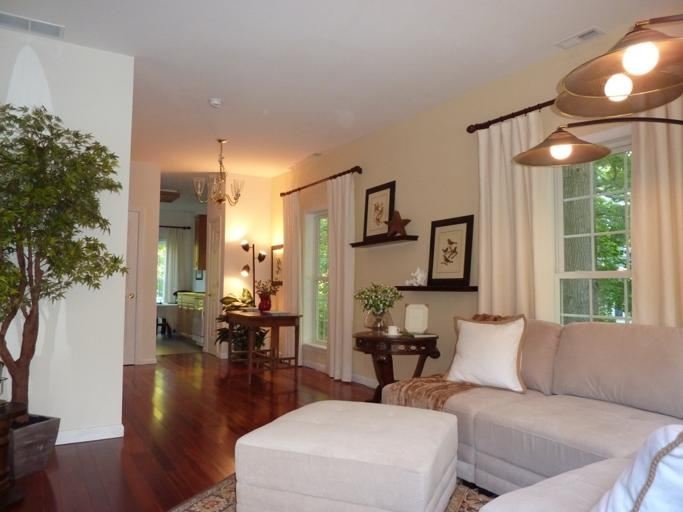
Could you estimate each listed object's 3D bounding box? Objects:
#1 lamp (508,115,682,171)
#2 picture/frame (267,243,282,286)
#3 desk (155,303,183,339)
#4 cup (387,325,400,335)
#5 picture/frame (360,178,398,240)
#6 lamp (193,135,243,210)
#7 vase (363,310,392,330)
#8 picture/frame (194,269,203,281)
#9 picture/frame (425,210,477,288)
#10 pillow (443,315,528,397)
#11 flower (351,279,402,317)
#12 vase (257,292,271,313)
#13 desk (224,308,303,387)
[{"bbox_3d":[1.550,-0.652,2.969,0.497,0.197,0.781,3,0,-39],"label":"lamp"},{"bbox_3d":[-1.089,0.159,7.890,0.052,0.783,0.659,0,-3,-23],"label":"picture/frame"},{"bbox_3d":[-3.957,1.474,10.976,0.477,0.710,1.111,0,0,-22],"label":"desk"},{"bbox_3d":[0.501,0.716,4.582,0.093,0.070,0.070,9,-14,-24],"label":"cup"},{"bbox_3d":[0.467,-0.562,5.727,0.032,0.875,0.736,5,-7,-29],"label":"picture/frame"},{"bbox_3d":[-1.772,-1.243,6.981,0.676,1.172,0.823,2,0,5],"label":"lamp"},{"bbox_3d":[0.386,0.675,4.938,0.250,0.185,0.272,1,-7,-1],"label":"vase"},{"bbox_3d":[-3.342,0.449,11.261,0.024,0.327,0.279,1,0,-43],"label":"picture/frame"},{"bbox_3d":[1.118,-0.056,4.822,0.068,0.952,0.713,11,-11,-32],"label":"picture/frame"},{"bbox_3d":[1.108,0.764,3.613,0.546,0.452,0.197,-10,-43,41],"label":"pillow"},{"bbox_3d":[0.330,0.435,4.875,0.376,0.259,0.363,6,-6,-37],"label":"flower"},{"bbox_3d":[-1.038,0.633,6.497,0.218,0.303,0.224,-7,-12,33],"label":"vase"},{"bbox_3d":[-0.935,1.099,6.147,0.814,0.519,0.400,5,-4,-37],"label":"desk"}]
